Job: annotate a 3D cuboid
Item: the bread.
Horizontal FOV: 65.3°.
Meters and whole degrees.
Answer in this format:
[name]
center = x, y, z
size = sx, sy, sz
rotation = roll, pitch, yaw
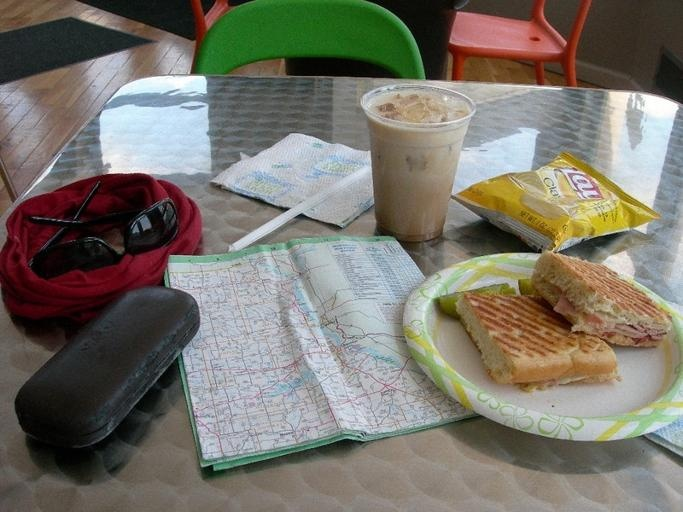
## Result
[bread]
center = 0.202, 0.094, 0.578
size = 0.145, 0.029, 0.114
rotation = -4, 35, -11
